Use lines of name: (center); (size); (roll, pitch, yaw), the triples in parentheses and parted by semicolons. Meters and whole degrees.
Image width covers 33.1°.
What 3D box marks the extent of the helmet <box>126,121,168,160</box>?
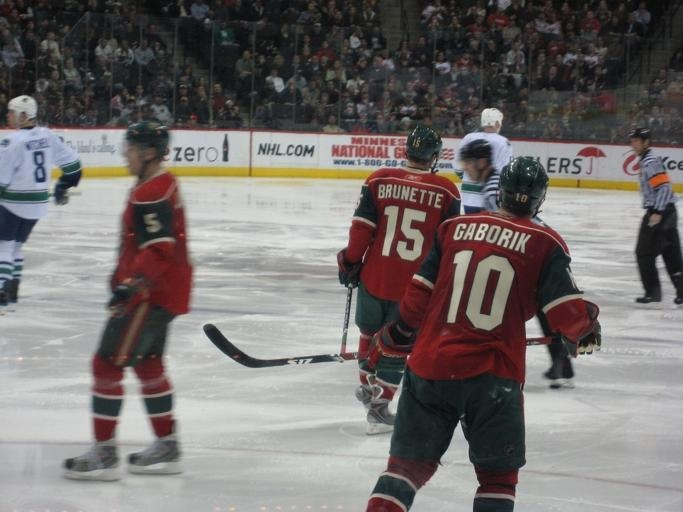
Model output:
helmet: (-1.448, -0.844, 8.243); (0.357, 0.246, 0.251); (2, -2, -31)

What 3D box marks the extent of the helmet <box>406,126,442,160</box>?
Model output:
helmet: (0.649, -0.899, 9.052); (0.267, 0.257, 0.307); (17, 19, 13)

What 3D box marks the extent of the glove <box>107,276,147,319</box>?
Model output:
glove: (-1.538, 0.288, 8.064); (0.278, 0.278, 0.107); (3, 12, -6)

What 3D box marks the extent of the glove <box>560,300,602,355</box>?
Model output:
glove: (1.642, 0.473, 7.598); (0.167, 0.314, 0.309); (-11, -2, -40)

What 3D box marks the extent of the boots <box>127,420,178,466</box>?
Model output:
boots: (-1.364, 1.377, 8.316); (0.506, 0.368, 0.218); (-7, -3, 32)

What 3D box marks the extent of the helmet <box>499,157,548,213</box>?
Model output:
helmet: (1.223, -0.453, 7.755); (0.431, 0.374, 0.467); (10, 4, 14)

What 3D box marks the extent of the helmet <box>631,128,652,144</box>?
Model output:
helmet: (3.085, -1.238, 11.738); (0.206, 0.121, 0.256); (5, 10, 9)

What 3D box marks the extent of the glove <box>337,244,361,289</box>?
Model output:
glove: (0.030, 0.099, 9.174); (0.272, 0.234, 0.297); (1, 8, -2)

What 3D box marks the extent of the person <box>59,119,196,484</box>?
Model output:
person: (-1.531, 0.309, 8.198); (0.832, 2.526, 0.645); (3, 12, -7)
